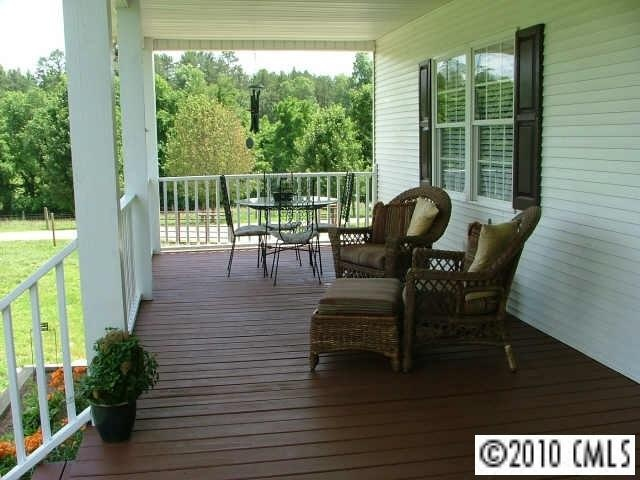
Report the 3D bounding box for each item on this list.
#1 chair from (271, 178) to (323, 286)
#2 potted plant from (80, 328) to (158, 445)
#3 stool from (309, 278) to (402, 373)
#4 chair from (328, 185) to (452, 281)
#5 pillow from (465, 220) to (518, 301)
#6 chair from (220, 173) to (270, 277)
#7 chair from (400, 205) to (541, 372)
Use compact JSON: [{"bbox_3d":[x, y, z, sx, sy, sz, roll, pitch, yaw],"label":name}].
[{"bbox_3d":[-0.328,-0.124,7.097,0.777,1.314,0.857,2,-2,-13],"label":"chair"},{"bbox_3d":[-1.271,0.934,3.238,0.449,0.665,0.282,-6,14,-22],"label":"potted plant"},{"bbox_3d":[0.318,0.632,4.256,0.623,0.441,0.849,-1,7,6],"label":"stool"},{"bbox_3d":[0.706,0.027,5.751,1.190,1.126,1.165,5,12,-5],"label":"chair"},{"bbox_3d":[1.349,0.150,4.144,0.183,0.557,0.602,9,2,-35],"label":"pillow"},{"bbox_3d":[-1.054,-0.188,7.219,0.698,1.170,0.680,-3,5,-22],"label":"chair"},{"bbox_3d":[1.248,0.354,4.408,1.158,1.275,0.989,-1,8,6],"label":"chair"}]
